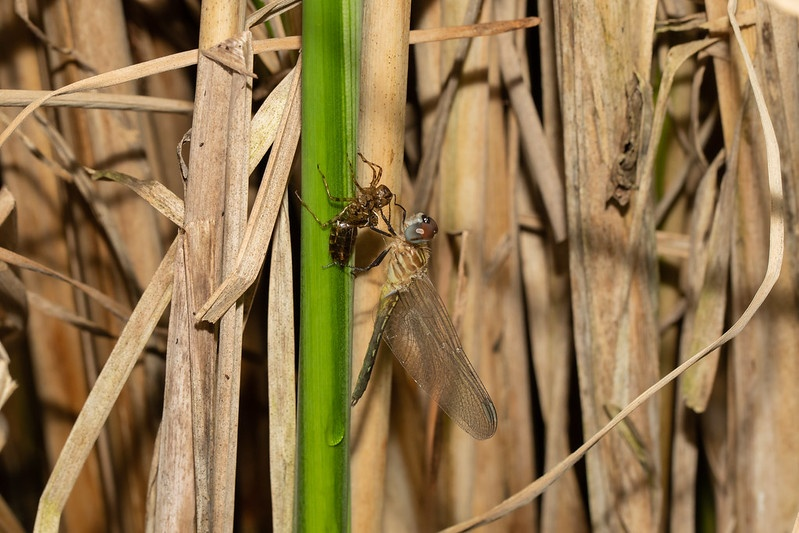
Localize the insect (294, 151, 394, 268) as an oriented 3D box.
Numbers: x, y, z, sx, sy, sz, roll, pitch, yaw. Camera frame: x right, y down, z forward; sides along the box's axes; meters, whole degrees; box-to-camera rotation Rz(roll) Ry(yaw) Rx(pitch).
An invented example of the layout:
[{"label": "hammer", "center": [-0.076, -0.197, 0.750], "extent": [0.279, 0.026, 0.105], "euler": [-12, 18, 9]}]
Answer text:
[{"label": "insect", "center": [-0.170, -0.184, 4.057], "extent": [0.104, 0.406, 0.385], "euler": [6, -34, 32]}]
